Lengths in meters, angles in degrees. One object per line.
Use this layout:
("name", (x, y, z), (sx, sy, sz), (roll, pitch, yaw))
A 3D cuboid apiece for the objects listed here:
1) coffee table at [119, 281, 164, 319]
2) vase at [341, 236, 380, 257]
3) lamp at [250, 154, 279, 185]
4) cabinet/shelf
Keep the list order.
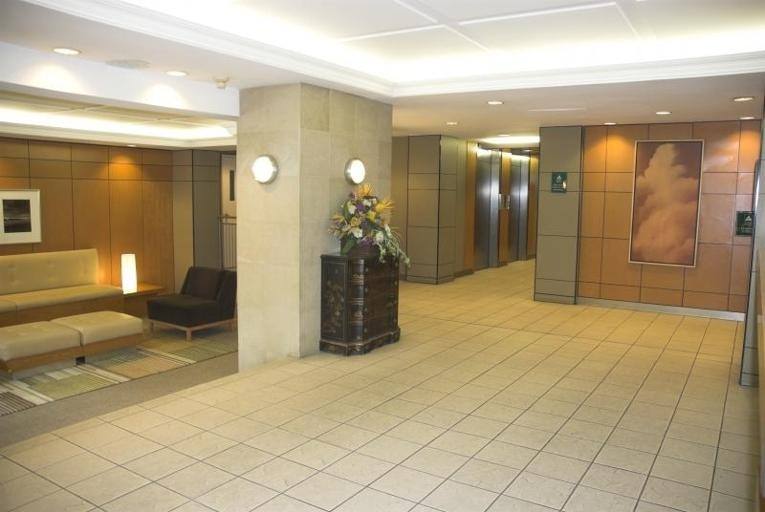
("coffee table", (-5.356, 0.949, 11.171), (0.762, 0.408, 0.754), (11, 15, 37))
("vase", (-0.294, -0.141, 6.908), (0.519, 0.250, 0.323), (1, 14, -1))
("lamp", (-1.612, -1.171, 6.807), (0.432, 0.391, 0.166), (9, 17, 30))
("cabinet/shelf", (-0.356, 0.628, 6.960), (0.831, 1.272, 1.476), (4, 7, 33))
